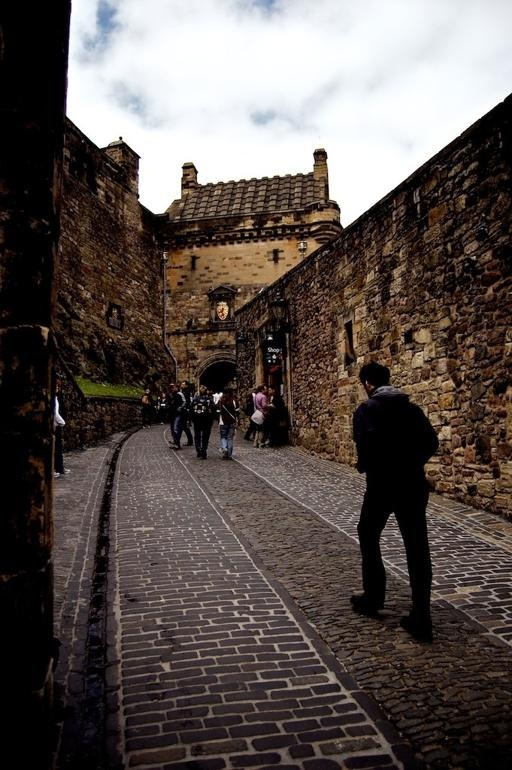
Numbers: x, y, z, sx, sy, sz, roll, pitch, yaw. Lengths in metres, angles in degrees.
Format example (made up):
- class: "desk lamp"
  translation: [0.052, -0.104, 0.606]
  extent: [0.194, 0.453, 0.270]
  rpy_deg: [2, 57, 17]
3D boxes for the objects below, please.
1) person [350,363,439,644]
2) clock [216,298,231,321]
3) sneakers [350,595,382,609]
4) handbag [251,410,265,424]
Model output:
- class: "person"
  translation: [0.724, 0.656, 3.492]
  extent: [0.454, 1.247, 0.381]
  rpy_deg: [0, -1, 19]
- class: "clock"
  translation: [-1.508, -3.534, 30.557]
  extent: [1.010, 1.401, 0.147]
  rpy_deg: [0, 0, 15]
- class: "sneakers"
  translation: [0.621, 1.222, 3.668]
  extent: [0.118, 0.045, 0.094]
  rpy_deg: [2, 0, -40]
- class: "handbag"
  translation: [0.045, 0.661, 13.580]
  extent: [0.265, 0.241, 0.234]
  rpy_deg: [1, 0, -4]
